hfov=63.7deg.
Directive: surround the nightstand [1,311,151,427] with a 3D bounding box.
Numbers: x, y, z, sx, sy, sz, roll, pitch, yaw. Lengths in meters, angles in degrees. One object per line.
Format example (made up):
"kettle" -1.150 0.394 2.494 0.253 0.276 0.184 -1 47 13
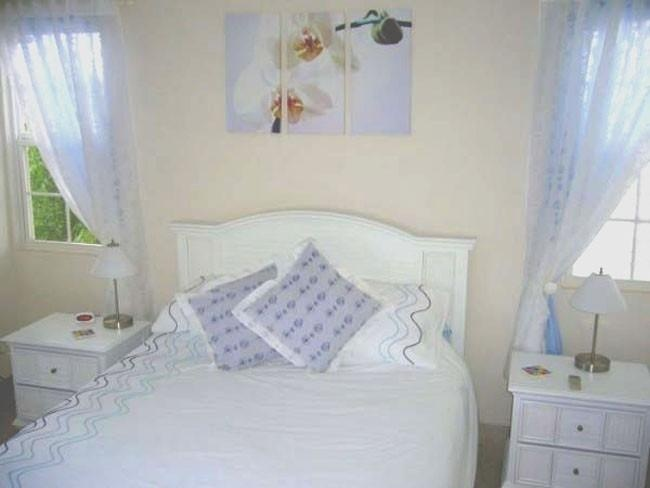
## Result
"nightstand" -1.652 0.705 3.717 0.869 0.897 0.663 3 9 17
